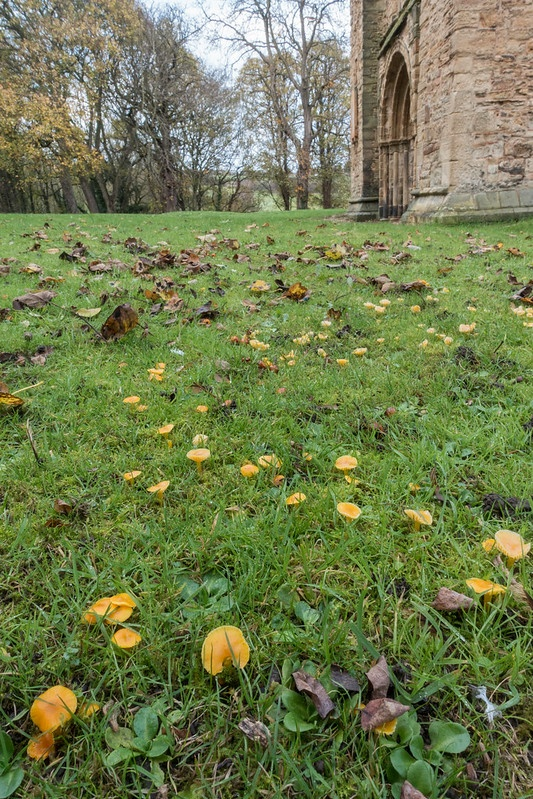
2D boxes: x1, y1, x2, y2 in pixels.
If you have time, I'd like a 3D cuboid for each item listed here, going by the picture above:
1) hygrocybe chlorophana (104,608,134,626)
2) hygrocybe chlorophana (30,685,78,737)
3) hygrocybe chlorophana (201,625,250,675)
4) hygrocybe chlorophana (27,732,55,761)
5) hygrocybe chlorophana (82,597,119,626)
[{"bbox_3d":[-0.371,0.541,1.319,0.042,0.012,0.042,-4,5,-23],"label":"hygrocybe chlorophana"},{"bbox_3d":[-0.465,0.672,1.138,0.091,0.068,0.080,-14,22,-24],"label":"hygrocybe chlorophana"},{"bbox_3d":[-0.099,0.599,1.225,0.113,0.104,0.093,-5,20,-3],"label":"hygrocybe chlorophana"},{"bbox_3d":[-0.475,0.726,1.094,0.047,0.022,0.052,-13,-27,32],"label":"hygrocybe chlorophana"},{"bbox_3d":[-0.428,0.537,1.339,0.070,0.027,0.058,-24,-6,29],"label":"hygrocybe chlorophana"}]
